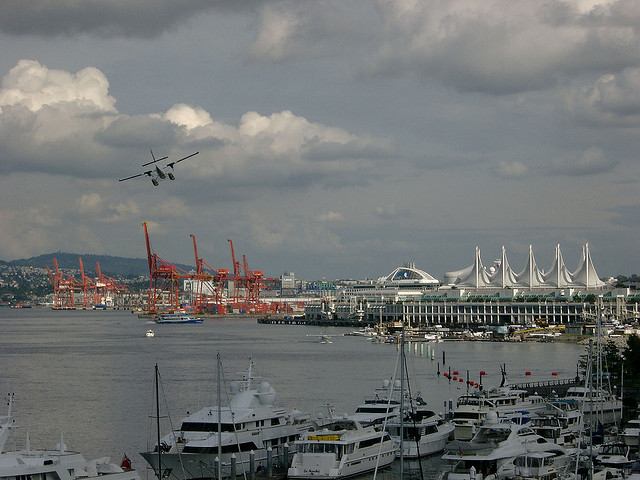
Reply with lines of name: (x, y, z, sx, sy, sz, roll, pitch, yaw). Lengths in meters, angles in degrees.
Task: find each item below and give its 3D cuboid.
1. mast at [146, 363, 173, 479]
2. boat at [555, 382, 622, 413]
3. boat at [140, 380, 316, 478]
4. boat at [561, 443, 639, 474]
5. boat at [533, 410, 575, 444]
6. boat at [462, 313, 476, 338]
mast: (-10.538, 12.126, 91.149, 1.533, 8.080, 1.518, -8, -5, 13)
boat: (18.276, 11.179, 97.588, 2.428, 2.708, 8.208, -2, -6, 36)
boat: (-6.636, 12.277, 90.415, 13.615, 4.992, 4.382, -3, 4, -45)
boat: (17.477, 13.425, 87.540, 4.582, 1.621, 3.056, 1, -7, -28)
boat: (14.833, 12.116, 91.455, 2.081, 1.608, 3.427, -4, 5, 32)
boat: (18.864, 10.889, 180.857, 1.863, 3.120, 0.160, 2, 28, 15)
